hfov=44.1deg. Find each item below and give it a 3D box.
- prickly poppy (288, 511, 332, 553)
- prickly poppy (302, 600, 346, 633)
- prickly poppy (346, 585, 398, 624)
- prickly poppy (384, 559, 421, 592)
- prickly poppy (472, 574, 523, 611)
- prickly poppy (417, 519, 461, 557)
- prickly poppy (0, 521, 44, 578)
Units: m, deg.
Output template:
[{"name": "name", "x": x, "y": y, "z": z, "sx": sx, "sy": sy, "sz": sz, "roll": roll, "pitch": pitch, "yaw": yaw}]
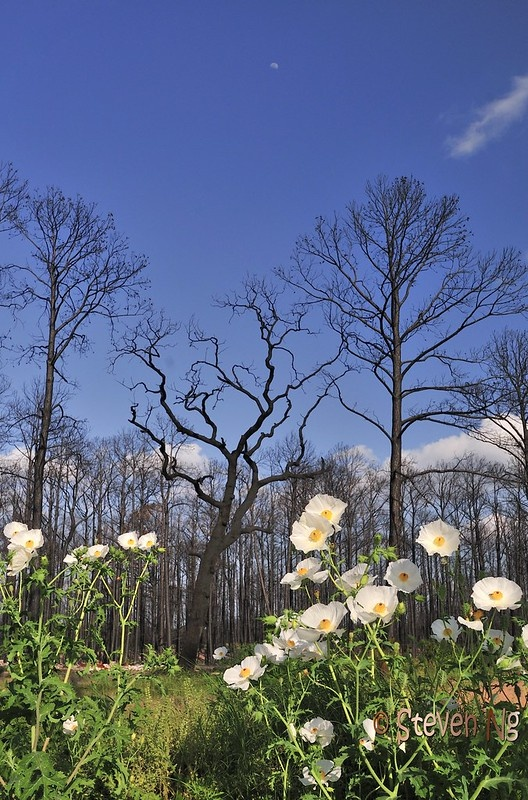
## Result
[{"name": "prickly poppy", "x": 0.202, "y": 0.554, "z": 2.696, "sx": 0.166, "sy": 0.178, "sz": 0.077, "roll": 14, "pitch": -5, "yaw": 44}, {"name": "prickly poppy", "x": 0.241, "y": 0.862, "z": 2.575, "sx": 0.163, "sy": 0.075, "sz": 0.155, "roll": -25, "pitch": 11, "yaw": -37}, {"name": "prickly poppy", "x": 0.414, "y": 0.787, "z": 2.514, "sx": 0.190, "sy": 0.156, "sz": 0.231, "roll": -2, "pitch": -11, "yaw": 9}, {"name": "prickly poppy", "x": 0.537, "y": 0.675, "z": 2.526, "sx": 0.130, "sy": 0.144, "sz": 0.059, "roll": -24, "pitch": -29, "yaw": 25}, {"name": "prickly poppy", "x": 0.938, "y": 0.785, "z": 2.627, "sx": 0.220, "sy": 0.143, "sz": 0.180, "roll": 4, "pitch": -11, "yaw": -19}, {"name": "prickly poppy", "x": 0.711, "y": 0.569, "z": 2.670, "sx": 0.168, "sy": 0.157, "sz": 0.312, "roll": -2, "pitch": -11, "yaw": 13}, {"name": "prickly poppy", "x": -1.139, "y": 0.685, "z": 3.120, "sx": 0.205, "sy": 0.258, "sz": 0.122, "roll": -16, "pitch": -30, "yaw": 5}]
